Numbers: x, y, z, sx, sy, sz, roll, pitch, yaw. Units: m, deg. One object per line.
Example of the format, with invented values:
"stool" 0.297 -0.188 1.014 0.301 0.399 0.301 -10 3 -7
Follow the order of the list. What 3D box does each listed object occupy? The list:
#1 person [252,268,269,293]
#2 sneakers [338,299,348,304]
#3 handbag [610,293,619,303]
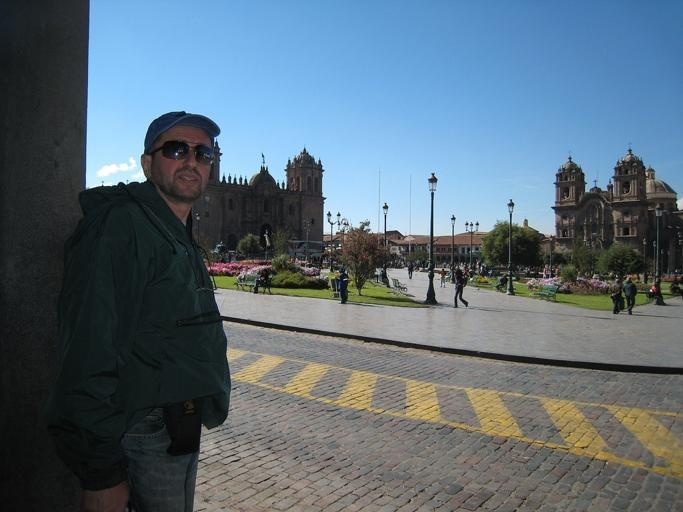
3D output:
"person" -4.089 1.277 26.779 0.470 1.084 0.761 8 -5 -6
"sneakers" 0.100 1.782 20.746 0.244 0.194 0.327 -2 3 -15
"handbag" 10.335 1.543 19.760 0.253 0.348 0.468 3 5 28
